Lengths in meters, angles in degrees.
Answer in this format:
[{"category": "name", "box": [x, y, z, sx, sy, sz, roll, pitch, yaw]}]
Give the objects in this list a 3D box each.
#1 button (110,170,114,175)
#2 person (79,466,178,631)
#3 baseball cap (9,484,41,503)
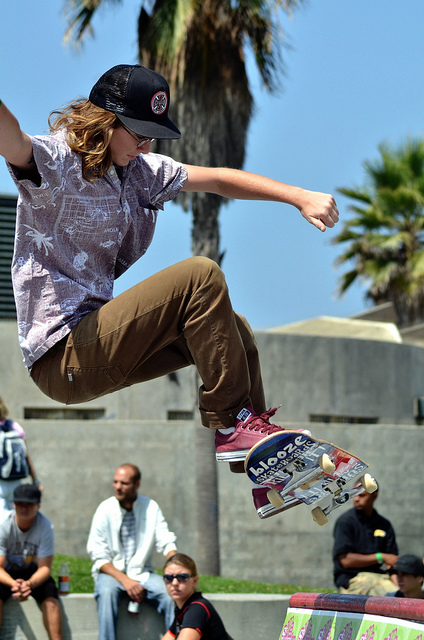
[{"category": "button", "box": [-0.593, -0.890, 7.977, 0.025, 0.020, 0.007, -2, 1, -31]}, {"category": "person", "box": [-0.640, 1.786, 10.763, 0.701, 1.160, 0.744, -2, 1, -8]}, {"category": "baseball cap", "box": [-1.405, 1.313, 10.244, 0.207, 0.133, 0.178, -2, 1, -10]}]
